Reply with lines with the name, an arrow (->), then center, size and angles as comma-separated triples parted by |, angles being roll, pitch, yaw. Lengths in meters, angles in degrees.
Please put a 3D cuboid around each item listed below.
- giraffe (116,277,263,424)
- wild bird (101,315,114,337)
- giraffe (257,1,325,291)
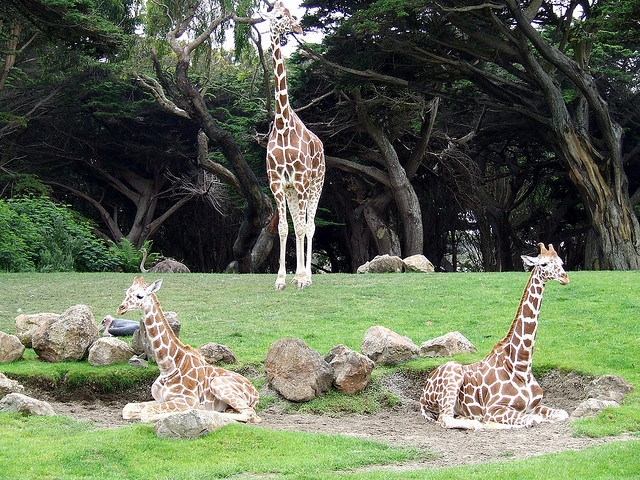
giraffe -> -1.802, 1.611, 8.476 | 2.440, 2.410, 1.344 | 12, -20, -32
wild bird -> -3.935, 1.592, 11.217 | 0.189, 0.376, 0.288 | 11, -12, -43
giraffe -> -0.739, -2.396, 15.635 | 1.072, 7.381, 2.492 | 0, -9, 18
